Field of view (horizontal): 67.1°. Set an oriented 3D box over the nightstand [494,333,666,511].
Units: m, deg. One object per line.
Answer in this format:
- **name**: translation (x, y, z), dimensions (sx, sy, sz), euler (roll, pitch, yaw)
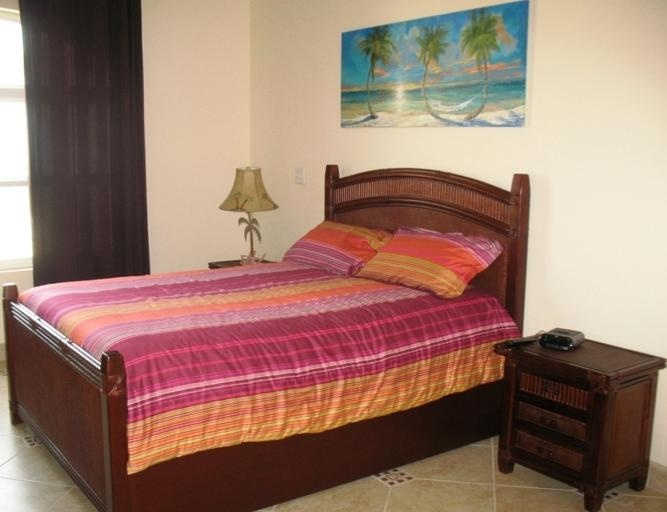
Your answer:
- **nightstand**: translation (1.273, 0.783, 2.872), dimensions (0.783, 0.859, 0.881), euler (-5, 10, -35)
